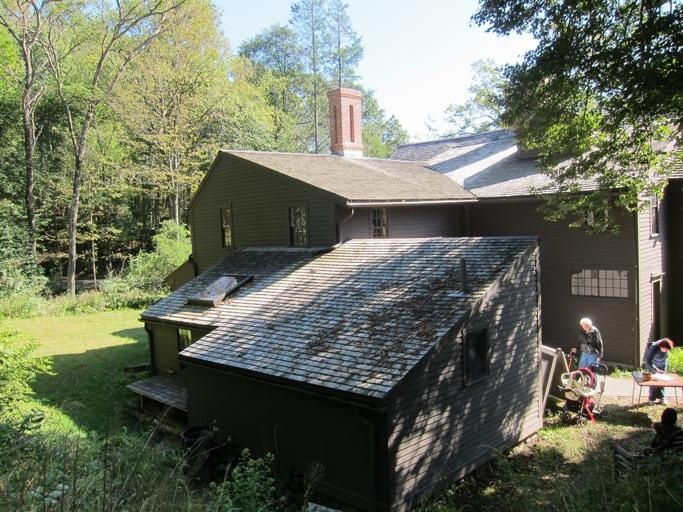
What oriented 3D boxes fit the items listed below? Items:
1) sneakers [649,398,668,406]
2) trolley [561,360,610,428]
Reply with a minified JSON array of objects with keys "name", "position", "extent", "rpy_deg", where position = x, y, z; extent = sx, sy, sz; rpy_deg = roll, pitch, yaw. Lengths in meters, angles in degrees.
[{"name":"sneakers","position":[8.870,4.045,14.828],"extent":[0.338,0.121,0.222],"rpy_deg":[1,2,39]},{"name":"trolley","position":[6.666,3.824,14.383],"extent":[1.257,1.209,0.767],"rpy_deg":[-12,-12,16]}]
